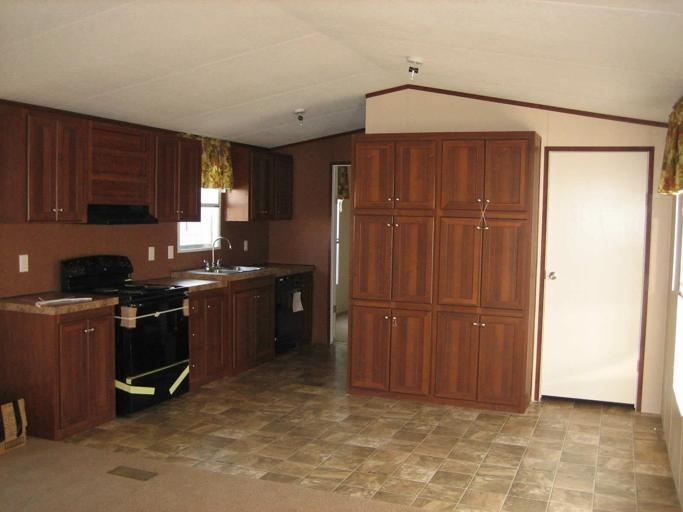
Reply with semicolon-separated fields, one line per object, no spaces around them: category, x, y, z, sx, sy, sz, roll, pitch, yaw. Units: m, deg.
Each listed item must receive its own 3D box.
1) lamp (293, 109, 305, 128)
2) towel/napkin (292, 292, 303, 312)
lamp;-0.501;-1.712;6.961;0.118;0.158;0.111;0;7;1
towel/napkin;-0.616;0.646;8.027;0.042;0.344;0.304;0;-2;23
